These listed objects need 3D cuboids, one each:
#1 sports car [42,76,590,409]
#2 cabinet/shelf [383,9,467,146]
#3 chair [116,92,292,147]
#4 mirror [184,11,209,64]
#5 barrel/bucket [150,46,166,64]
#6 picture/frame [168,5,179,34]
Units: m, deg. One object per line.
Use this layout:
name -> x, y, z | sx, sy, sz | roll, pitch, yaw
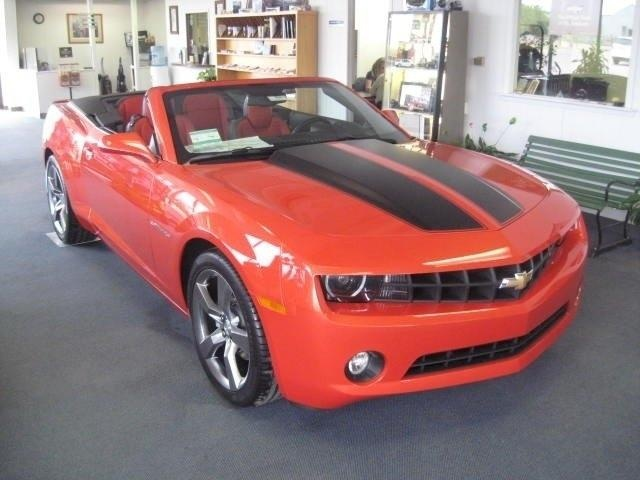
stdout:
sports car -> -0.440, -0.220, 2.702 | 1.799, 1.028, 3.096 | -11, 24, -34
cabinet/shelf -> 1.242, -2.495, 6.905 | 1.118, 1.827, 0.433 | -20, 38, -30
chair -> -0.661, -0.741, 2.744 | 0.471, 0.233, 0.591 | -9, 12, -30
mirror -> -3.588, -5.988, 13.027 | 0.071, 1.721, 1.458 | -7, 17, -38
barrel/bucket -> -5.020, -5.785, 13.951 | 0.385, 0.578, 0.615 | 19, 28, 40
picture/frame -> -4.545, -6.912, 13.868 | 0.101, 1.137, 0.820 | -10, 19, -34
